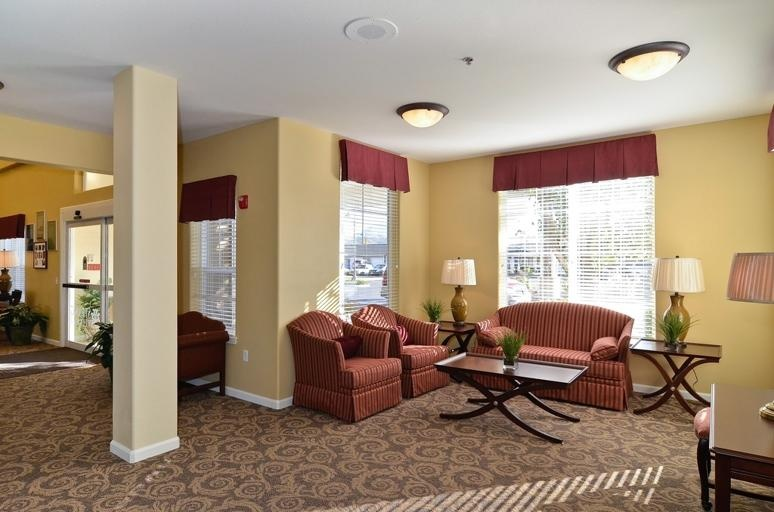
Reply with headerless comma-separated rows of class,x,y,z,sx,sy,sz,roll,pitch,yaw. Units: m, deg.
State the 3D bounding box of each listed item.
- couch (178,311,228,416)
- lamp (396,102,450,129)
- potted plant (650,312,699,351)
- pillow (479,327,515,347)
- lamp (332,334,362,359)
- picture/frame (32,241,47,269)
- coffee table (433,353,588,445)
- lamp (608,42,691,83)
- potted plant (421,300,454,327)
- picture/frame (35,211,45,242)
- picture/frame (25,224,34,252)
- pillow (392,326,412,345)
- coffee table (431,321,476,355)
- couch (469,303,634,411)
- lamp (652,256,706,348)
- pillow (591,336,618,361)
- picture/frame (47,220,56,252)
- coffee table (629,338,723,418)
couch,-2.486,1.468,6.959,1.200,0.940,0.675,2,3,42
lamp,0.454,-1.778,6.473,0.675,0.267,0.236,0,11,2
potted plant,3.729,0.923,6.588,0.479,0.470,0.433,-1,-1,-10
pillow,1.554,1.136,7.443,0.332,0.164,0.527,5,4,34
lamp,-0.491,1.192,6.918,0.294,0.300,0.128,2,9,-36
picture/frame,-7.007,-0.029,10.396,0.548,0.566,0.039,-3,-4,36
coffee table,1.538,1.645,6.321,1.635,0.802,0.904,4,12,23
lamp,2.774,-1.993,5.484,0.836,0.247,0.802,-6,4,-32
potted plant,0.768,0.903,8.526,0.326,0.344,0.346,-2,-4,37
picture/frame,-6.984,-0.621,10.375,0.457,0.586,0.128,9,14,40
picture/frame,-7.422,-0.392,10.696,0.579,0.789,0.057,0,0,42
pillow,0.246,1.163,7.654,0.107,0.268,0.271,-9,-4,19
coffee table,1.137,1.260,8.185,0.569,0.549,0.558,-5,7,-42
couch,2.384,1.314,7.402,2.101,1.175,1.094,1,2,33
lamp,3.824,0.572,6.743,0.846,1.053,0.837,4,-5,-5
pillow,2.938,1.227,6.935,0.336,0.212,0.472,4,11,22
picture/frame,-6.565,-0.411,10.091,0.435,0.579,0.126,10,15,43
coffee table,3.726,1.550,6.629,1.002,0.790,0.672,2,7,39
